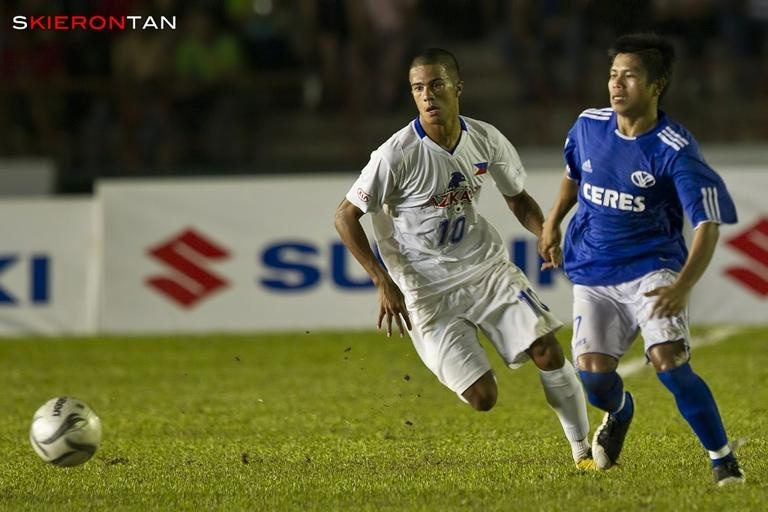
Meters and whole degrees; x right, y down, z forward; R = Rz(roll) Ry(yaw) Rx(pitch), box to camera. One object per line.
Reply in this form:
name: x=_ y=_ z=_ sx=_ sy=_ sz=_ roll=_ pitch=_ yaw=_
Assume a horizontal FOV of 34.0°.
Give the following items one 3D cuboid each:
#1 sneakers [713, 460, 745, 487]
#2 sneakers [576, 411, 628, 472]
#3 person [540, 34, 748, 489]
sneakers: x=2.578 y=1.577 z=9.199 sx=0.303 sy=0.152 sz=0.166 roll=-8 pitch=16 yaw=-24
sneakers: x=1.667 y=1.396 z=9.494 sx=0.191 sy=0.550 sz=0.221 roll=20 pitch=-16 yaw=36
person: x=1.922 y=-0.012 z=9.315 sx=1.539 sy=3.199 sz=0.887 roll=3 pitch=15 yaw=16
